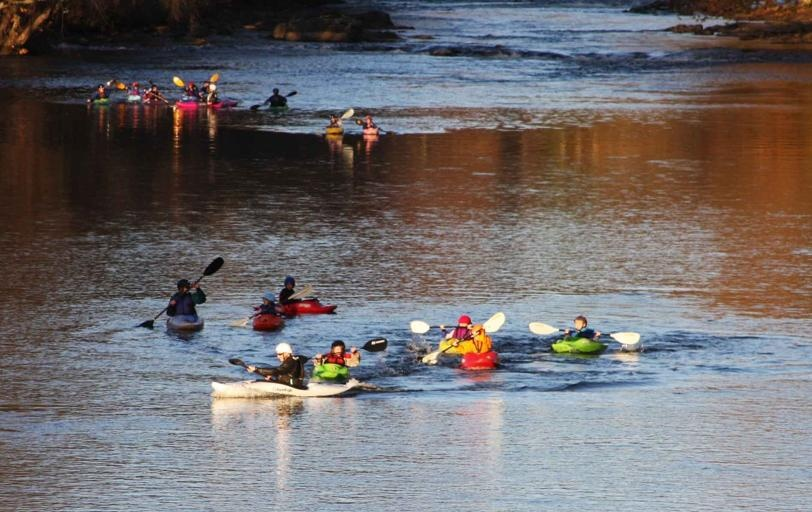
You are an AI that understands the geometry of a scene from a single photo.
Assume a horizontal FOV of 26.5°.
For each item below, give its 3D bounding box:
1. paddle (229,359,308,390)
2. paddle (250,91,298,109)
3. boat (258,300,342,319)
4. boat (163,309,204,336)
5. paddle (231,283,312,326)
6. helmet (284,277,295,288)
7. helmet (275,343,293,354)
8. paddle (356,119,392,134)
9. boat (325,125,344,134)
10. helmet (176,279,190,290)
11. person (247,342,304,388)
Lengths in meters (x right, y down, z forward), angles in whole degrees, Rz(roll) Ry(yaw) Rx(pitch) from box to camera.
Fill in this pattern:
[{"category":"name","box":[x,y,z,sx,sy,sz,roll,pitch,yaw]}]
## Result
[{"category":"paddle","box":[-3.356,2.917,43.974,2.327,0.611,0.718,9,-13,-3]},{"category":"paddle","box":[-5.812,-6.701,73.697,2.452,0.717,0.872,-4,6,23]},{"category":"boat","box":[-2.878,1.430,47.134,2.117,0.366,0.513,1,-4,-2]},{"category":"boat","box":[-5.946,1.836,46.199,1.019,0.496,0.577,-1,15,-4]},{"category":"paddle","box":[-3.693,1.383,47.127,2.578,0.394,0.328,-21,-18,-31]},{"category":"helmet","box":[-3.229,0.740,47.362,0.279,0.215,0.302,5,-17,-5]},{"category":"helmet","box":[-3.130,2.367,44.019,0.421,0.237,0.270,-2,6,1]},{"category":"paddle","box":[-1.406,-4.990,66.481,1.184,0.358,1.028,0,3,5]},{"category":"boat","box":[-2.782,-4.848,66.406,0.624,0.326,0.474,-3,14,-9]},{"category":"helmet","box":[-6.005,0.779,46.380,0.344,0.255,0.326,-2,15,-5]},{"category":"person","box":[-3.190,2.726,44.541,1.764,1.479,1.086,1,9,-6]}]
